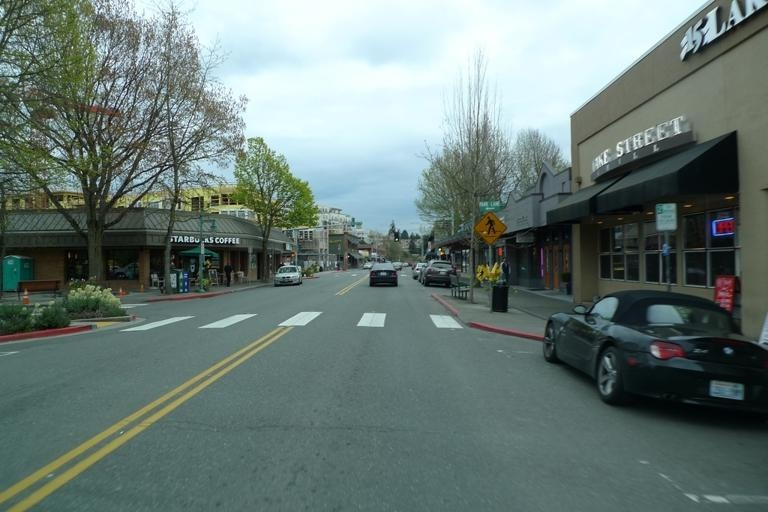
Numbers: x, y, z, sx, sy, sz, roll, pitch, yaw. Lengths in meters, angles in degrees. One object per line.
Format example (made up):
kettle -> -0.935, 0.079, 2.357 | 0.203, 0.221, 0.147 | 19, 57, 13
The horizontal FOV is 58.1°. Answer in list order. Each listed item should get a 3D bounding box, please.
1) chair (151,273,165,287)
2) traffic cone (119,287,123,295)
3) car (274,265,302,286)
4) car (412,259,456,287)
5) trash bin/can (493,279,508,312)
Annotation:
chair -> -14.539, 1.553, 44.202 | 0.820, 1.259, 0.840 | -1, -2, 11
traffic cone -> -14.930, 2.008, 39.157 | 0.298, 0.637, 0.308 | -1, 1, -24
car -> -6.865, 1.371, 49.438 | 1.862, 1.450, 3.078 | -1, -2, -10
car -> 3.296, 1.082, 42.308 | 1.388, 1.725, 3.301 | -1, -2, -7
trash bin/can -> 4.273, 1.522, 25.660 | 0.768, 1.268, 0.863 | 0, 0, -12
